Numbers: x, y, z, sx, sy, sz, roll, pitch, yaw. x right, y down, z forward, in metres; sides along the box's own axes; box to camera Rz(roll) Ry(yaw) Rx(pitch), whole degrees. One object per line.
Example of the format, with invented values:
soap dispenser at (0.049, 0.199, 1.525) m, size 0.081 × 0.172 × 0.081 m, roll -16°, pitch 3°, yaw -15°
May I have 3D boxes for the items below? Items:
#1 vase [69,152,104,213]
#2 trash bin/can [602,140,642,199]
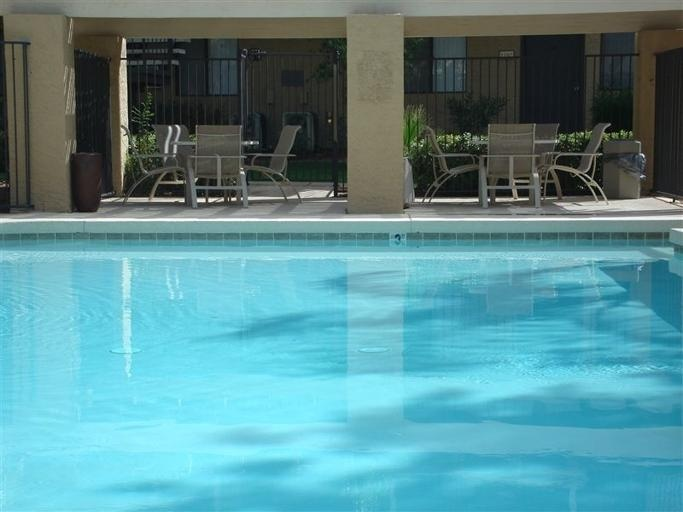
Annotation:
vase at (-3.589, -1.046, 9.937) m, size 0.435 × 0.818 × 0.337 m, roll -5°, pitch 12°, yaw -22°
trash bin/can at (4.739, -1.438, 11.458) m, size 0.575 × 1.101 × 0.597 m, roll 4°, pitch 5°, yaw 38°
